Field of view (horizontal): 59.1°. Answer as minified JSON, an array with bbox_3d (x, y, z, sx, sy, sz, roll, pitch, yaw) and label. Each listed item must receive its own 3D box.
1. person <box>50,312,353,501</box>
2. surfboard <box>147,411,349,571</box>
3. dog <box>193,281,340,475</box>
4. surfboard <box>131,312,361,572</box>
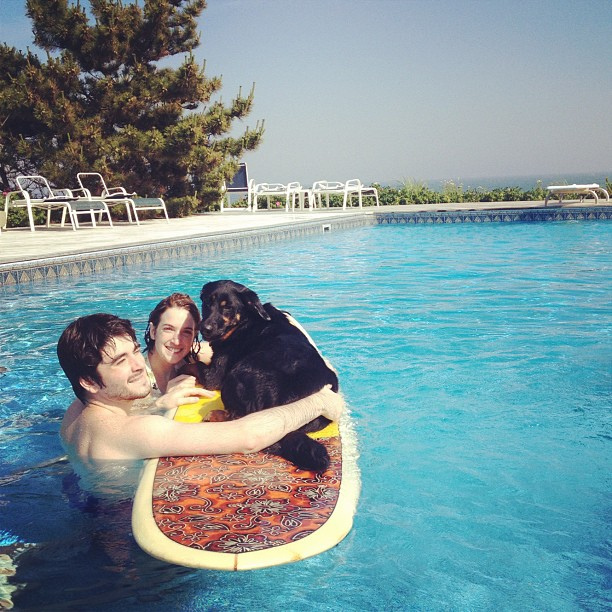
[{"bbox_3d":[-0.544,0.396,2.568,1.259,0.437,0.709,9,9,-21],"label":"person"},{"bbox_3d":[-0.175,0.689,1.866,0.739,0.053,0.639,-1,13,-11],"label":"surfboard"},{"bbox_3d":[-0.174,0.288,2.448,0.462,0.437,1.018,9,17,-34],"label":"dog"},{"bbox_3d":[-0.149,0.702,1.955,0.917,0.117,0.777,-2,13,-17],"label":"surfboard"}]
